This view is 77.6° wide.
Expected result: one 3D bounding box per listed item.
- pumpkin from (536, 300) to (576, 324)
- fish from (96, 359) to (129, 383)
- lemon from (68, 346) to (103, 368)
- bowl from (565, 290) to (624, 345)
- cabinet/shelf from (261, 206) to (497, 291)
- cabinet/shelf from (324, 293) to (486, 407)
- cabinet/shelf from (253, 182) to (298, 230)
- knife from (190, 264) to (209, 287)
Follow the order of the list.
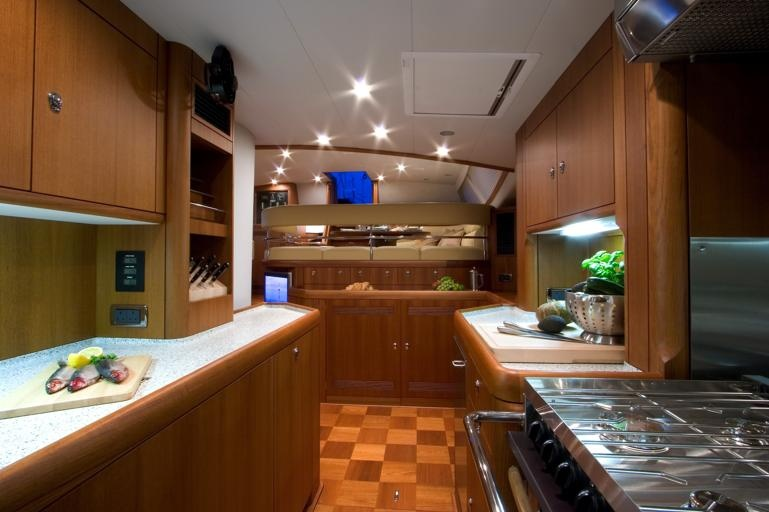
[{"bbox_3d":[0.893,0.289,2.507,0.146,0.143,0.148,-2,-7,-1],"label":"pumpkin"},{"bbox_3d":[-1.051,0.435,1.856,0.076,0.046,0.121,16,1,-28],"label":"fish"},{"bbox_3d":[-1.203,0.403,1.913,0.091,0.039,0.085,-8,13,-20],"label":"lemon"},{"bbox_3d":[1.045,0.312,2.329,0.301,0.230,0.310,8,-12,2],"label":"bowl"},{"bbox_3d":[0.054,-0.072,5.074,2.228,0.620,1.928,-3,-1,26],"label":"cabinet/shelf"},{"bbox_3d":[0.018,0.900,4.549,1.424,0.976,0.748,5,-15,-18],"label":"cabinet/shelf"},{"bbox_3d":[-2.144,-0.979,8.815,0.812,0.767,0.472,-8,25,-30],"label":"cabinet/shelf"},{"bbox_3d":[-1.037,0.109,2.651,0.034,0.032,0.134,20,28,-6],"label":"knife"}]
